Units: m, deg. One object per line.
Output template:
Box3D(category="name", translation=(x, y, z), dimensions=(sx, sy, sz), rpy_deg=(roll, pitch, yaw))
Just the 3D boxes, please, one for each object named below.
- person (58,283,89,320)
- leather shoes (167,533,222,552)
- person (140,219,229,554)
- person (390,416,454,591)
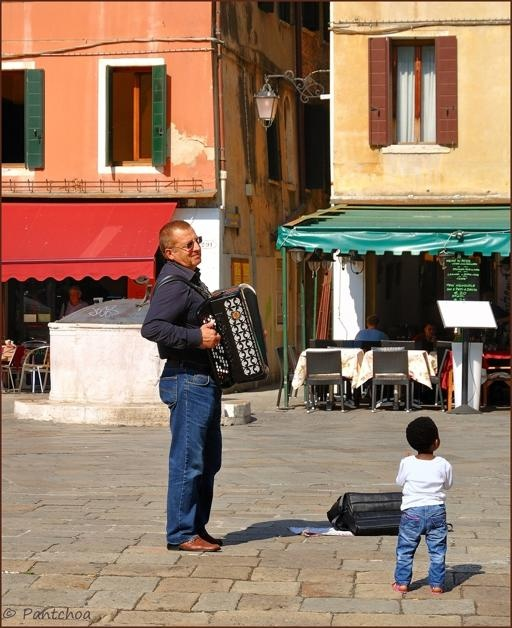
Box3D(category="person", translation=(-2.885, -0.237, 21.708), dimensions=(0.439, 0.518, 2.079), rpy_deg=(-1, 0, -7))
Box3D(category="leather shoes", translation=(-0.413, 1.490, 8.834), dimensions=(0.363, 0.166, 0.129), rpy_deg=(-2, 1, 6))
Box3D(category="person", translation=(-0.478, 0.461, 8.821), dimensions=(0.487, 2.040, 0.529), rpy_deg=(-1, 0, -2))
Box3D(category="person", translation=(0.964, 1.122, 8.095), dimensions=(0.338, 1.016, 0.487), rpy_deg=(-1, 0, 10))
